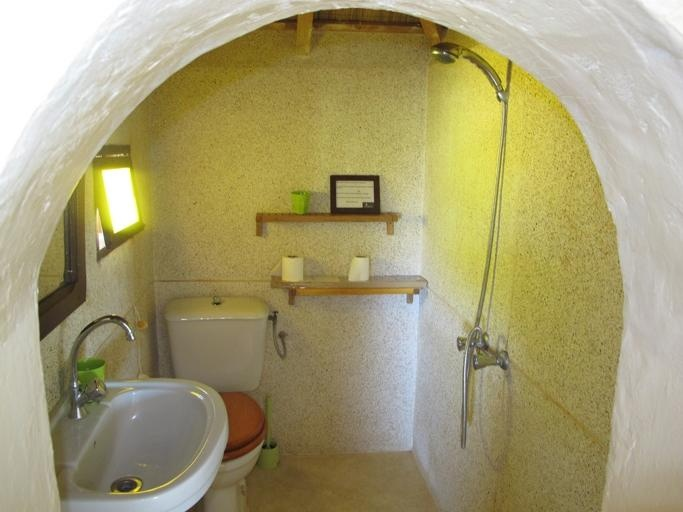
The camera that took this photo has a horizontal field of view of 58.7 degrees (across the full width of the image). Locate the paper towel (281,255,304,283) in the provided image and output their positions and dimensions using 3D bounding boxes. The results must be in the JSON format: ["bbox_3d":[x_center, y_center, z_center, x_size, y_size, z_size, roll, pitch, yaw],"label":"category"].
[{"bbox_3d":[-0.244,0.065,3.065,0.111,0.125,0.106,3,8,11],"label":"paper towel"}]

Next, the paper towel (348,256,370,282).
[{"bbox_3d":[0.090,0.066,3.110,0.110,0.131,0.111,-1,3,-29],"label":"paper towel"}]

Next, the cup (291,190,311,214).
[{"bbox_3d":[-0.204,-0.278,3.068,0.098,0.113,0.093,2,15,-1],"label":"cup"}]

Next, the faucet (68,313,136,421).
[{"bbox_3d":[-0.720,0.330,1.827,0.233,0.301,0.097,-2,13,-2],"label":"faucet"}]
